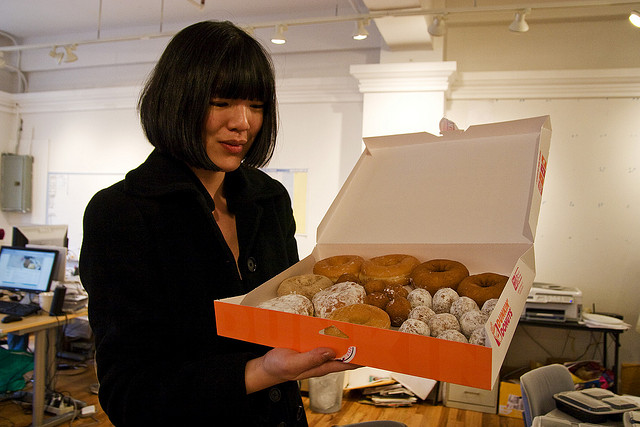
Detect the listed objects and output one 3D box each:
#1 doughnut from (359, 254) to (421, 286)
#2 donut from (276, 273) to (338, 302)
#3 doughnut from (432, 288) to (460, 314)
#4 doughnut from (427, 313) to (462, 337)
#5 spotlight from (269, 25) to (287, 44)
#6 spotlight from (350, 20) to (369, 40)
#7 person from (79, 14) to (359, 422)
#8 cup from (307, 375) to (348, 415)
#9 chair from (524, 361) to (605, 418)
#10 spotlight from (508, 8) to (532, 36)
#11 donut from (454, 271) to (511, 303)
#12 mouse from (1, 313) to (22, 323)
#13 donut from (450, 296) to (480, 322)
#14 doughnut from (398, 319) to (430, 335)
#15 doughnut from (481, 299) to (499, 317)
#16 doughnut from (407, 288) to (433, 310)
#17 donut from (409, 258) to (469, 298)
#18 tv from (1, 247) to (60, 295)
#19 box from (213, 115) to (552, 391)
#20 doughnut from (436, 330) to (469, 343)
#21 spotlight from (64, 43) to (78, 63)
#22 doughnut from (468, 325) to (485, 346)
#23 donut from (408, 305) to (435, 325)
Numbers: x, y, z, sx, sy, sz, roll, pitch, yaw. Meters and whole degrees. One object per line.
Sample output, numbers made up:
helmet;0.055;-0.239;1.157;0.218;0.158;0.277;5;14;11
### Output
doughnut;0.311;0.250;2.112;0.165;0.059;0.175;-3;6;25
donut;-0.068;0.303;2.112;0.231;0.101;0.268;-1;-16;-20
doughnut;0.522;0.368;1.954;0.098;0.100;0.119;17;-27;3
doughnut;0.483;0.433;1.843;0.084;0.058;0.104;2;4;38
spotlight;-0.441;-1.903;4.918;0.138;0.173;0.266;2;0;-11
spotlight;0.397;-1.835;4.605;0.133;0.187;0.207;2;0;2
person;-0.429;0.050;1.924;0.929;1.352;0.506;2;0;2
cup;0.062;1.751;4.525;0.339;0.384;0.345;1;-8;0
chair;1.844;1.333;3.482;0.366;0.478;0.413;3;-22;-6
spotlight;1.847;-1.795;4.298;0.154;0.258;0.328;3;0;21
donut;0.716;0.314;1.981;0.242;0.132;0.173;3;0;-22
mouse;-2.641;0.894;3.963;0.062;0.044;0.115;-1;-2;19
donut;0.587;0.392;1.899;0.091;0.089;0.089;11;-24;-29
doughnut;0.371;0.445;1.810;0.081;0.045;0.082;1;0;17
doughnut;0.680;0.370;1.867;0.064;0.016;0.066;-29;7;-14
doughnut;0.424;0.365;1.972;0.083;0.082;0.080;1;-12;-10
donut;0.543;0.293;2.131;0.276;0.112;0.259;-21;13;-37
tv;-2.816;0.565;4.457;0.641;0.339;0.190;2;0;28
box;0.425;0.165;1.996;1.080;0.672;1.507;4;23;29
doughnut;0.515;0.467;1.774;0.081;0.046;0.082;-1;2;-6
spotlight;-2.961;-1.910;5.484;0.120;0.179;0.268;2;0;-29
doughnut;0.599;0.466;1.762;0.066;0.026;0.073;-27;5;-41
donut;0.418;0.414;1.911;0.115;0.072;0.091;3;0;-10
